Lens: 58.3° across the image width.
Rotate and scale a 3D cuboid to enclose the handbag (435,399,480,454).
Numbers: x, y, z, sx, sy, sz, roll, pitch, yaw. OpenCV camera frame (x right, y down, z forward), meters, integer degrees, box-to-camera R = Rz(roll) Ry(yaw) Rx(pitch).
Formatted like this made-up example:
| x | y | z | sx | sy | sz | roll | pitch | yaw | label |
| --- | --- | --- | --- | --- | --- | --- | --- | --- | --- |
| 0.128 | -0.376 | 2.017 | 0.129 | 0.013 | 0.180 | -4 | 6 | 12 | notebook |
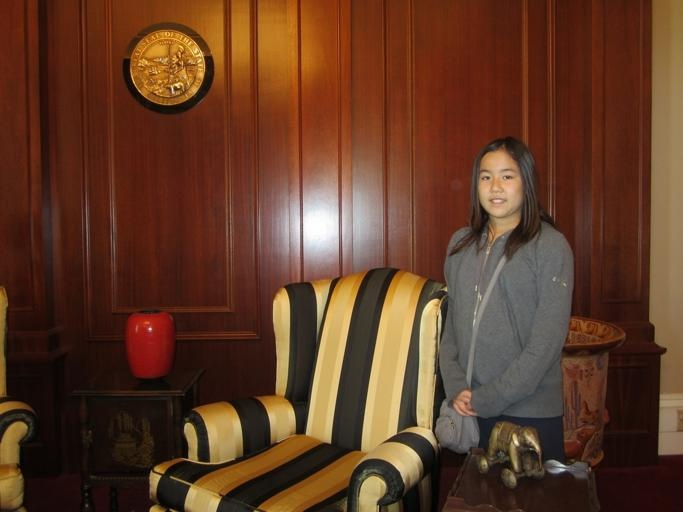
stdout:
| x | y | z | sx | sy | sz | roll | pitch | yaw | label |
| --- | --- | --- | --- | --- | --- | --- | --- | --- | --- |
| 0.506 | 0.736 | 2.631 | 0.182 | 0.209 | 0.084 | 14 | -17 | -7 | handbag |
